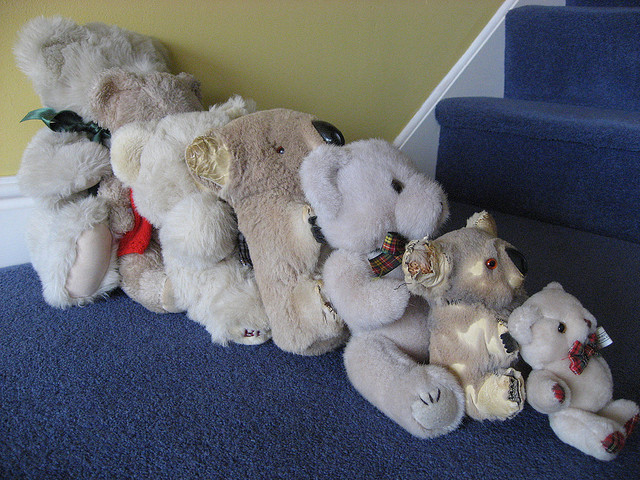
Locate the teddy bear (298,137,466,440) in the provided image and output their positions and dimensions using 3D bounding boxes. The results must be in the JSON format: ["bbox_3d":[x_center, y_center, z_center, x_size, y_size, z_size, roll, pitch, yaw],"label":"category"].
[{"bbox_3d":[0.191,0.072,1.490,0.380,0.684,0.440,5,25,34],"label":"teddy bear"}]

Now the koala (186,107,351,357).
[{"bbox_3d":[-0.100,-0.053,1.588,0.389,0.584,0.199,-15,-1,11],"label":"koala"}]

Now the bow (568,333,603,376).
[{"bbox_3d":[0.559,0.248,1.293,0.068,0.042,0.103,-4,14,27],"label":"bow"}]

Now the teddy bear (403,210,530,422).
[{"bbox_3d":[0.332,0.163,1.370,0.278,0.443,0.262,-7,26,-24],"label":"teddy bear"}]

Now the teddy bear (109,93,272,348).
[{"bbox_3d":[-0.350,-0.037,1.710,0.428,0.621,0.248,-24,10,-22],"label":"teddy bear"}]

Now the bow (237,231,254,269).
[{"bbox_3d":[-0.194,0.028,1.601,0.026,0.080,0.060,-13,22,20],"label":"bow"}]

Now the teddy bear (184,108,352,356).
[{"bbox_3d":[-0.069,-0.097,1.733,0.587,0.570,0.448,8,25,16],"label":"teddy bear"}]

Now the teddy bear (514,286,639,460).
[{"bbox_3d":[0.549,0.302,1.317,0.171,0.284,0.234,-4,25,44],"label":"teddy bear"}]

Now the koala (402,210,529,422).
[{"bbox_3d":[0.356,0.145,1.419,0.306,0.480,0.293,-27,16,-34],"label":"koala"}]

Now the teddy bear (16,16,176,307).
[{"bbox_3d":[-0.618,-0.219,1.859,0.511,0.851,0.426,3,0,-38],"label":"teddy bear"}]
